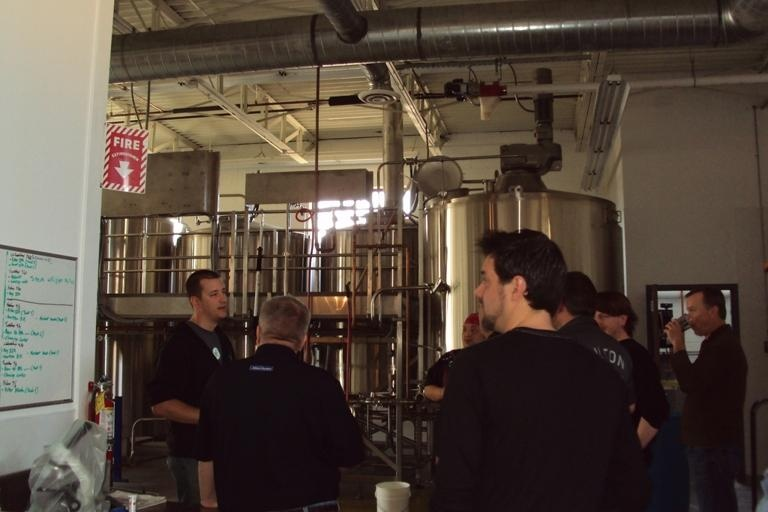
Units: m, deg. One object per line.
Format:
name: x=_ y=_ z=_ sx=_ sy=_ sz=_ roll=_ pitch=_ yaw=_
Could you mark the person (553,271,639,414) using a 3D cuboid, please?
person: x=1.413 y=0.453 z=5.768 sx=0.579 sy=1.180 sz=1.127 roll=2 pitch=-11 yaw=14
